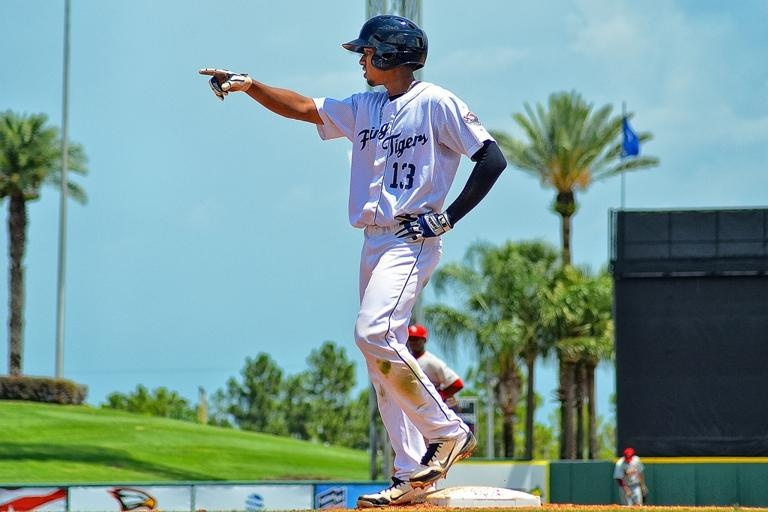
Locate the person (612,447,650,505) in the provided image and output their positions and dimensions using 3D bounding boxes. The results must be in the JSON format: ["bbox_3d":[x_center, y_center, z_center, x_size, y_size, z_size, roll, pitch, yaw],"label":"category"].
[{"bbox_3d":[6.500,5.894,54.064,0.735,1.523,0.798,1,0,-23],"label":"person"}]

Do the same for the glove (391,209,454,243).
[{"bbox_3d":[0.849,-0.638,45.830,1.235,0.666,0.246,0,-9,1],"label":"glove"}]

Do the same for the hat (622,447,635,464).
[{"bbox_3d":[6.424,5.366,54.207,0.309,0.336,0.326,-3,-41,6],"label":"hat"}]
